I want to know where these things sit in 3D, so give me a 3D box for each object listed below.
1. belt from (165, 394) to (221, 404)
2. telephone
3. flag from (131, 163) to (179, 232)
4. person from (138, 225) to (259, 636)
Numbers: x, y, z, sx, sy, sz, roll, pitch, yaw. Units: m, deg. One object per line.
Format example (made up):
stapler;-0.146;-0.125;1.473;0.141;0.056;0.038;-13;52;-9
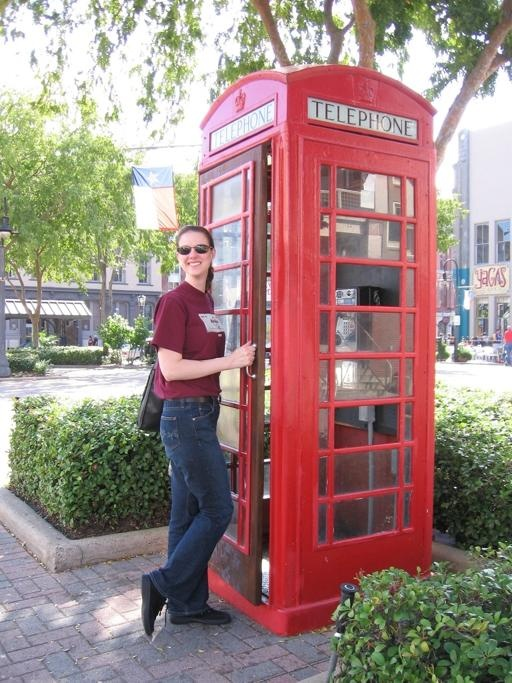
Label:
belt;-0.287;0.293;3.072;0.239;0.052;0.085;-2;3;-26
telephone;0.491;-0.013;3.389;0.114;0.571;0.415;2;4;44
flag;-2.197;-3.038;13.374;0.891;1.361;0.790;-1;3;-10
person;-0.341;0.448;3.176;0.461;2.092;0.580;1;3;38
